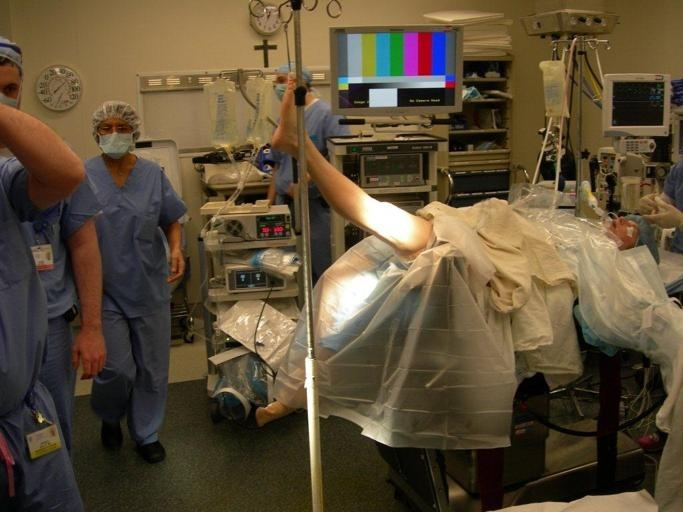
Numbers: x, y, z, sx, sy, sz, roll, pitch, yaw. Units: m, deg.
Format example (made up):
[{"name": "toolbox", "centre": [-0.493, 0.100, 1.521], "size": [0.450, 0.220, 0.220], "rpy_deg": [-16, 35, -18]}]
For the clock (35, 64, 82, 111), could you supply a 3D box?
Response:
[{"name": "clock", "centre": [-2.388, -1.419, 5.177], "size": [0.341, 0.409, 0.052], "rpy_deg": [0, 8, -11]}]

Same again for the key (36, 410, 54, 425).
[{"name": "key", "centre": [-0.972, 0.531, 2.034], "size": [0.049, 0.022, 0.033], "rpy_deg": [34, 0, 44]}]

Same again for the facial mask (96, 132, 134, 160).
[{"name": "facial mask", "centre": [-1.116, -0.539, 3.046], "size": [0.122, 0.115, 0.130], "rpy_deg": [-2, 11, -9]}]

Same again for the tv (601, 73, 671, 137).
[{"name": "tv", "centre": [1.793, -0.920, 3.788], "size": [0.333, 0.347, 0.196], "rpy_deg": [-1, 4, -5]}]

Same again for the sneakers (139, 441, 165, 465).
[{"name": "sneakers", "centre": [-0.979, 1.019, 3.229], "size": [0.074, 0.066, 0.152], "rpy_deg": [-4, 2, -35]}]
